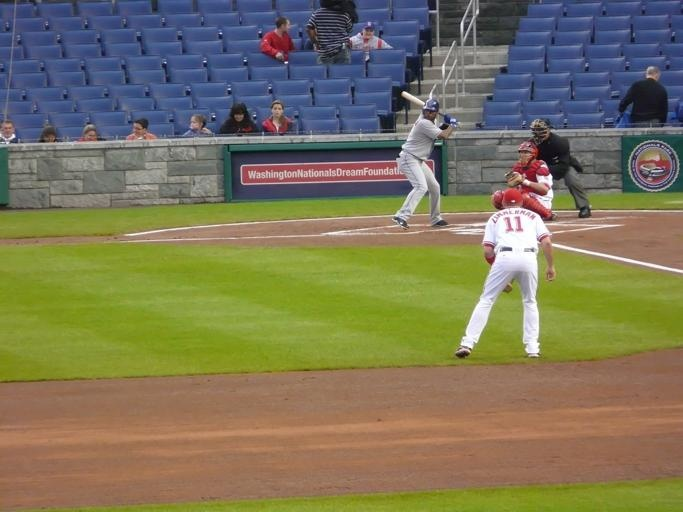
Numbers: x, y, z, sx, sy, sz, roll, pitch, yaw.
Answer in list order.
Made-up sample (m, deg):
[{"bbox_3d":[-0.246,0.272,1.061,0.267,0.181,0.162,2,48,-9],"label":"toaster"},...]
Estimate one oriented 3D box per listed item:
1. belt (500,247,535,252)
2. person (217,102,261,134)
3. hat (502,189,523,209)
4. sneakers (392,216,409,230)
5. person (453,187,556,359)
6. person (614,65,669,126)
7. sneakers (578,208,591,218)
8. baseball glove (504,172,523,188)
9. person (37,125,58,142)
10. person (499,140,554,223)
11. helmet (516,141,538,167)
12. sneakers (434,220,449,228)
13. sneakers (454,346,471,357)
[{"bbox_3d":[2.635,-0.068,24.028,0.521,0.074,0.077,2,12,-2],"label":"belt"},{"bbox_3d":[-2.392,-3.159,37.545,1.015,1.188,0.540,-1,9,3],"label":"person"},{"bbox_3d":[2.594,-0.854,24.295,0.250,0.178,0.326,4,26,9],"label":"hat"},{"bbox_3d":[1.191,-0.581,31.200,0.417,0.197,0.140,35,20,-42],"label":"sneakers"},{"bbox_3d":[2.551,0.306,24.123,1.285,2.456,0.792,4,14,3],"label":"person"},{"bbox_3d":[6.895,-3.558,36.510,1.028,1.447,1.124,7,13,15],"label":"person"},{"bbox_3d":[4.893,-0.841,32.233,0.234,0.234,0.579,-2,0,15],"label":"sneakers"},{"bbox_3d":[2.970,-1.257,27.585,0.318,0.144,0.367,-3,15,-9],"label":"baseball glove"},{"bbox_3d":[-6.873,-2.821,37.469,0.416,0.370,1.056,1,12,-10],"label":"person"},{"bbox_3d":[3.368,-1.283,29.288,0.965,1.459,1.188,8,11,31],"label":"person"},{"bbox_3d":[3.390,-1.840,29.405,0.419,0.405,0.487,-2,-4,31],"label":"helmet"},{"bbox_3d":[1.959,-0.610,31.711,0.317,0.107,0.124,-2,0,31],"label":"sneakers"},{"bbox_3d":[1.813,1.456,24.123,0.119,0.128,0.291,7,1,-20],"label":"sneakers"}]
